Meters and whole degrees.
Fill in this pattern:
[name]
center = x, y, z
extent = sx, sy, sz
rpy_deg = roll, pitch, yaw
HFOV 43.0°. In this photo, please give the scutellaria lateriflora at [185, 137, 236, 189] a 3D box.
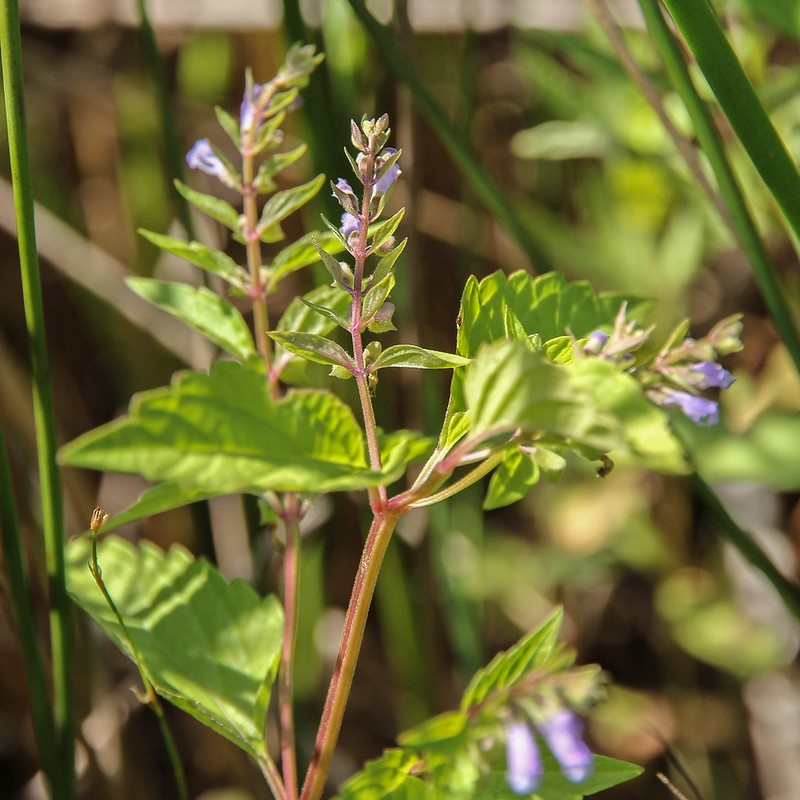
[scutellaria lateriflora]
center = -0.184, -0.231, 0.988
extent = 0.041, 0.046, 0.103
rpy_deg = -13, 30, -12
